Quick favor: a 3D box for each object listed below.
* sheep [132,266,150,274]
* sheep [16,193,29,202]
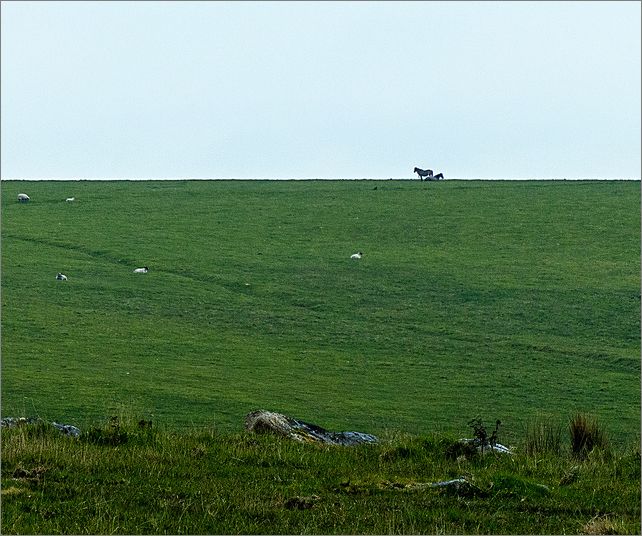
[{"bbox_3d":[-8.902,0.278,69.350,0.632,0.410,0.311,-5,10,-26],"label":"sheep"},{"bbox_3d":[-20.318,-4.416,95.603,0.397,0.776,1.299,9,9,19],"label":"sheep"}]
